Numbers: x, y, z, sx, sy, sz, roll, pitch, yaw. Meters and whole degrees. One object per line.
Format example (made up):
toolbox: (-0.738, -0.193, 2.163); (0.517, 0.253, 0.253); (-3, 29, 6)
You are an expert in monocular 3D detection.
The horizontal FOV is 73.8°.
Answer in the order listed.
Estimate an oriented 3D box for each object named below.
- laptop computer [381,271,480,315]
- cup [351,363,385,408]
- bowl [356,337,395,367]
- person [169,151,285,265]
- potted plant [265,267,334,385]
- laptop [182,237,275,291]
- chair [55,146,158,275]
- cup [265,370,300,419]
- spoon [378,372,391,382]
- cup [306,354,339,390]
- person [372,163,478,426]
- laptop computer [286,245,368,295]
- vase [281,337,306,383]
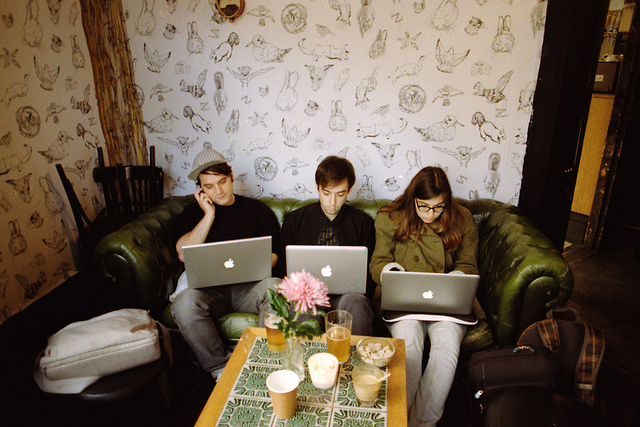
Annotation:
laptop computer: (0.704, 0.502, 2.735); (0.440, 0.317, 0.324); (1, 23, 5)
cup: (0.258, 0.914, 2.294); (0.164, 0.171, 0.186); (0, 15, 1)
bowl: (0.323, 0.813, 2.485); (0.209, 0.129, 0.129); (0, 13, 6)
person: (-0.703, -0.040, 3.301); (0.647, 1.008, 0.510); (-8, 15, -9)
potted plant: (-0.152, 0.681, 2.370); (0.318, 0.536, 0.318); (7, -13, -2)
laptop: (-0.609, 0.326, 2.862); (0.488, 0.349, 0.361); (-4, 30, -11)
chair: (-1.741, -0.026, 3.605); (0.720, 1.042, 0.438); (-5, 14, -15)
cup: (-0.197, 0.952, 2.254); (0.189, 0.170, 0.207); (-1, 18, 0)
spoon: (0.355, 0.907, 2.363); (0.022, 0.098, 0.016); (46, 27, 10)
cup: (0.015, 0.861, 2.359); (0.151, 0.137, 0.174); (0, 18, 0)
person: (0.742, 0.380, 3.059); (0.655, 1.054, 1.820); (2, 40, 5)
laptop computer: (0.047, 0.318, 3.002); (0.566, 0.418, 0.454); (3, 26, 4)
vase: (-0.153, 0.822, 2.416); (0.171, 0.235, 0.170); (16, -25, -37)
